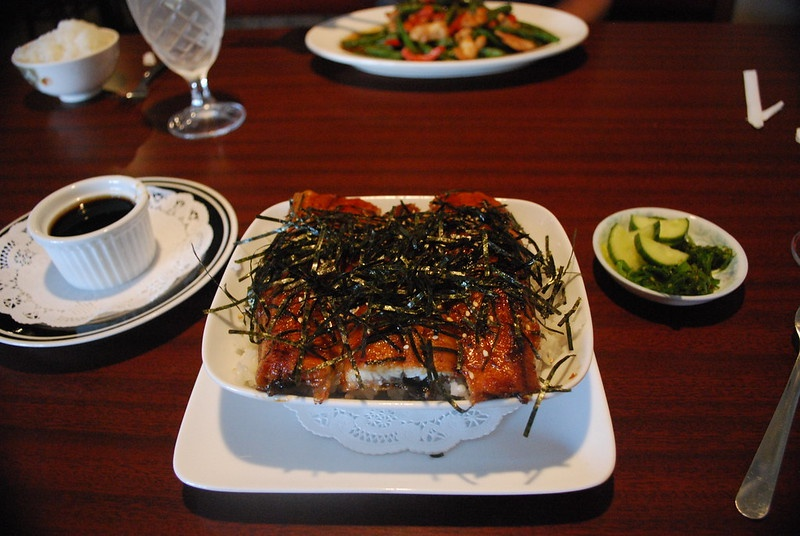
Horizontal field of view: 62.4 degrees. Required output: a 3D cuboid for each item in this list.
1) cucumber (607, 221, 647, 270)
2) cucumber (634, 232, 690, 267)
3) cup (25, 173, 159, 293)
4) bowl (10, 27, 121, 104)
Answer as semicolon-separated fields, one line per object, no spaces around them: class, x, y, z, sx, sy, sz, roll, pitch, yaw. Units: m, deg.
cucumber;0.812;-0.087;2.393;0.151;0.045;0.151;-3;60;-14
cucumber;0.931;-0.059;2.372;0.126;0.037;0.137;-22;46;-30
cup;-1.084;-0.114;2.471;0.434;0.276;0.427;-1;49;1
bowl;-1.543;-0.958;3.117;0.392;0.268;0.388;0;42;0
